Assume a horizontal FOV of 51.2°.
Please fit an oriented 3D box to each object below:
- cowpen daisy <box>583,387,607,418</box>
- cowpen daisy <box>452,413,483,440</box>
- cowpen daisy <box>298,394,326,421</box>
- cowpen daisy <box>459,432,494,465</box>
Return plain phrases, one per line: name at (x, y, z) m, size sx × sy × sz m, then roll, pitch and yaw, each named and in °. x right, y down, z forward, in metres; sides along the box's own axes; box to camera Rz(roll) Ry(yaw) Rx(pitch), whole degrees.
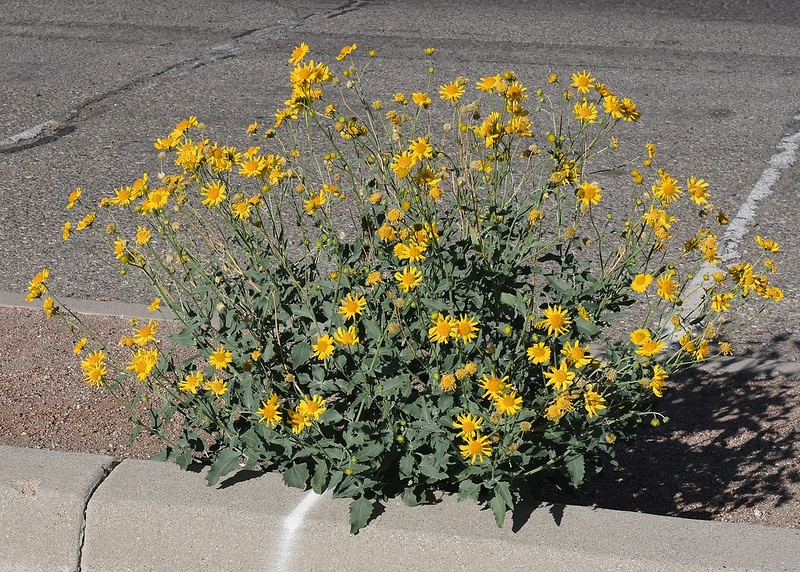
cowpen daisy at (0.859, 0.520, 3.688) m, size 0.058 × 0.117 × 0.121 m, roll 11°, pitch 21°, yaw 40°
cowpen daisy at (0.310, 0.612, 3.714) m, size 0.125 × 0.125 × 0.048 m, roll -10°, pitch 1°, yaw 14°
cowpen daisy at (-0.393, 0.543, 3.781) m, size 0.120 × 0.116 × 0.041 m, roll -5°, pitch -2°, yaw 2°
cowpen daisy at (0.347, 0.718, 3.686) m, size 0.148 × 0.141 × 0.056 m, roll 2°, pitch 10°, yaw 26°
